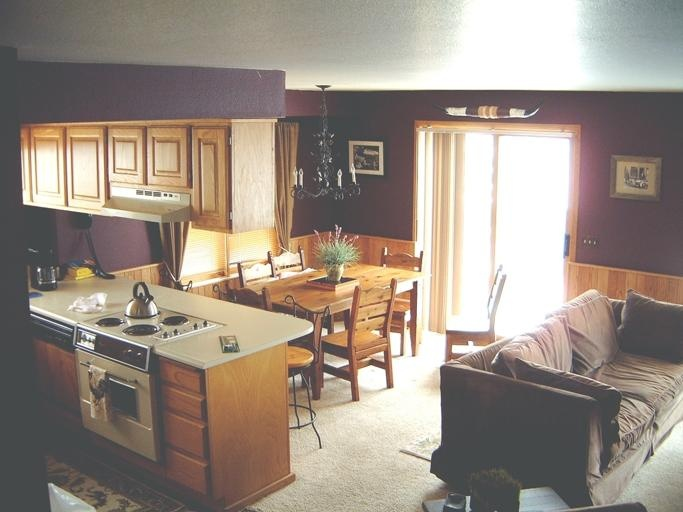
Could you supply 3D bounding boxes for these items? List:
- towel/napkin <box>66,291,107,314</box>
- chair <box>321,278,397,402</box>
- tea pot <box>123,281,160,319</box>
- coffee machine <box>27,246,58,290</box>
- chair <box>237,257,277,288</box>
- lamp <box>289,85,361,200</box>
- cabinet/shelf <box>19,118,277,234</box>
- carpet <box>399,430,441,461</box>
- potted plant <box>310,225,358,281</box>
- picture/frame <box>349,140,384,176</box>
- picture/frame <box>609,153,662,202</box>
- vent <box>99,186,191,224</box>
[{"bbox_3d":[-1.939,0.332,4.175,0.191,0.067,0.197,4,12,16],"label":"towel/napkin"},{"bbox_3d":[0.136,0.745,5.101,0.593,1.015,0.581,-6,9,-41],"label":"chair"},{"bbox_3d":[-1.484,0.361,4.092,0.263,0.277,0.273,1,9,0],"label":"tea pot"},{"bbox_3d":[-2.641,0.106,4.758,0.231,0.327,0.416,-6,13,-28],"label":"coffee machine"},{"bbox_3d":[-0.894,0.188,5.664,0.174,0.316,0.317,6,12,33],"label":"chair"},{"bbox_3d":[-0.172,-1.518,7.181,0.802,1.538,0.800,2,-1,-36],"label":"lamp"},{"bbox_3d":[-1.512,-0.630,4.054,2.025,0.764,0.583,6,13,27],"label":"cabinet/shelf"},{"bbox_3d":[0.632,1.483,4.153,0.181,0.025,0.323,12,15,35],"label":"carpet"},{"bbox_3d":[-0.077,-0.045,6.244,0.589,0.638,0.563,-4,10,-24],"label":"potted plant"},{"bbox_3d":[0.345,-1.279,6.962,0.663,0.593,0.031,9,15,37],"label":"picture/frame"},{"bbox_3d":[2.829,-0.757,5.111,0.041,0.409,0.437,-12,15,-43],"label":"picture/frame"},{"bbox_3d":[-1.433,-0.384,3.868,0.755,0.230,0.270,8,14,33],"label":"vent"}]
